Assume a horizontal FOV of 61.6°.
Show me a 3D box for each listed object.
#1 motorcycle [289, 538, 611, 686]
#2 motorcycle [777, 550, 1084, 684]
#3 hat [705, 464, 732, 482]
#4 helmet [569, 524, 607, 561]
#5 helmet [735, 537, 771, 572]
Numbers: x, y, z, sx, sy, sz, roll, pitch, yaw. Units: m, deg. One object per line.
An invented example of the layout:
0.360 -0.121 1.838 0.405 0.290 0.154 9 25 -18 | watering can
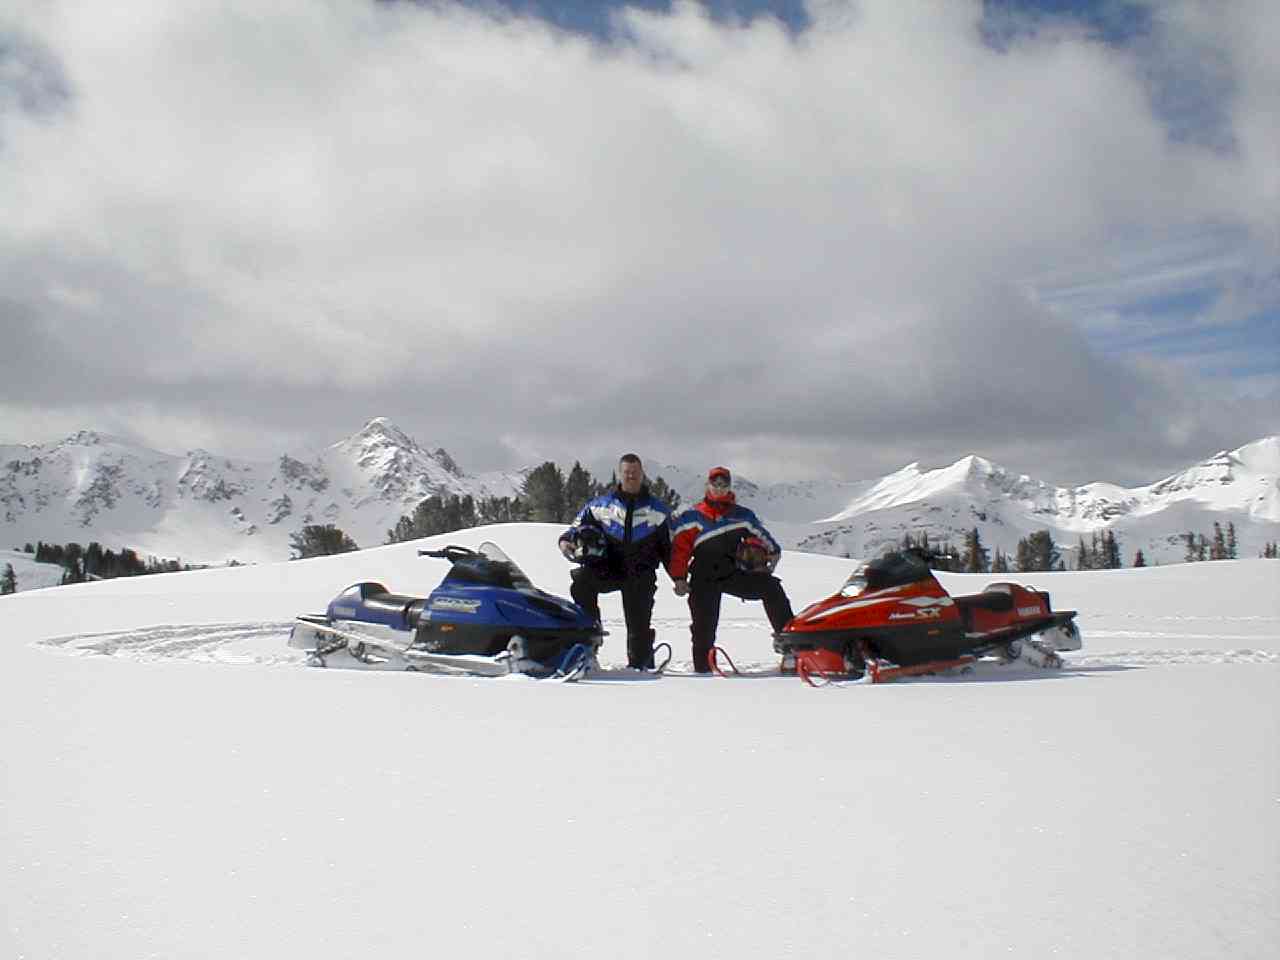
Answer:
-2.064 1.349 10.603 3.457 1.143 1.266 -5 -9 30 | motorcycle
2.607 1.234 10.053 2.654 0.969 1.167 1 -7 -4 | motorcycle
0.792 -0.039 10.741 0.256 0.102 0.337 2 -28 4 | hat
-0.538 0.628 11.065 0.310 0.335 0.358 1 4 -8 | helmet
1.177 0.777 11.020 0.350 0.321 0.271 8 35 27 | helmet
